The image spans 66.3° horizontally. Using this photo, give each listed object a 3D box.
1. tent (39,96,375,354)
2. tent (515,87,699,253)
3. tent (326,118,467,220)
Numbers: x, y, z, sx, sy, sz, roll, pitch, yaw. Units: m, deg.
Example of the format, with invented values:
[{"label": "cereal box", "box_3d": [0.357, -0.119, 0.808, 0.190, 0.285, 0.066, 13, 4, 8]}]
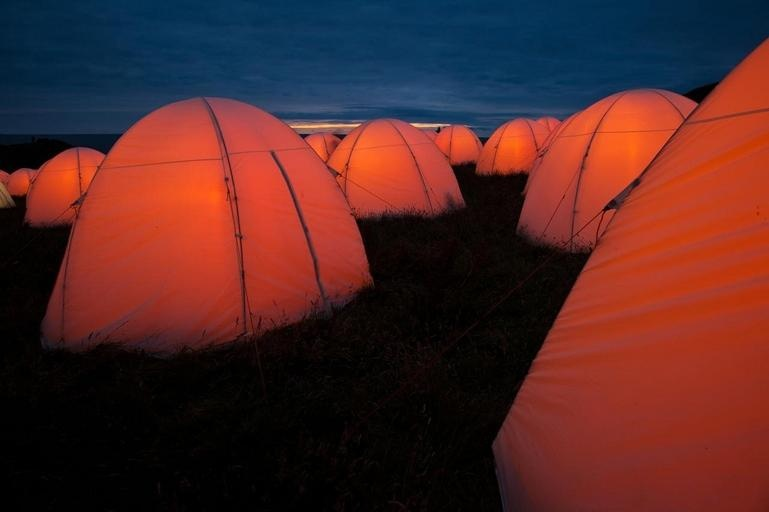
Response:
[{"label": "tent", "box_3d": [-2.712, -0.907, 8.596, 4.382, 2.874, 4.526, 0, 10, 16]}, {"label": "tent", "box_3d": [3.170, -1.216, 9.915, 3.263, 2.215, 3.349, -2, 14, 15]}, {"label": "tent", "box_3d": [0.251, -1.678, 13.592, 2.636, 1.385, 2.485, -7, 14, -1]}]
